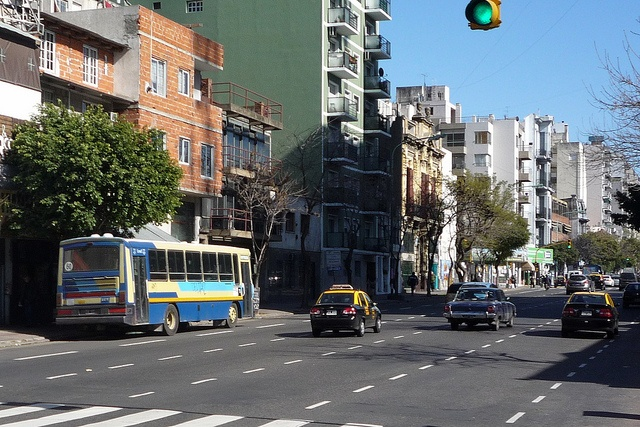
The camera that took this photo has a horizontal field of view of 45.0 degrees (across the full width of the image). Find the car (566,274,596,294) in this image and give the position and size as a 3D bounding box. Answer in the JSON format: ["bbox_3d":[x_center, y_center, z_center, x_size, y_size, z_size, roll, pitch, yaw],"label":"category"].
[{"bbox_3d":[27.231,7.329,80.275,2.487,2.118,3.594,-2,-9,15],"label":"car"}]

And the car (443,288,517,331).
[{"bbox_3d":[8.133,4.711,37.954,3.854,2.134,1.896,5,-10,-32],"label":"car"}]

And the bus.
[{"bbox_3d":[-7.580,3.715,37.885,3.903,4.536,12.259,-5,-6,21],"label":"bus"}]

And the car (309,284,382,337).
[{"bbox_3d":[1.216,4.459,34.612,1.605,2.178,3.412,-7,-11,43],"label":"car"}]

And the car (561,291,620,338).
[{"bbox_3d":[12.267,4.650,35.077,2.398,2.065,1.122,-1,-8,6],"label":"car"}]
